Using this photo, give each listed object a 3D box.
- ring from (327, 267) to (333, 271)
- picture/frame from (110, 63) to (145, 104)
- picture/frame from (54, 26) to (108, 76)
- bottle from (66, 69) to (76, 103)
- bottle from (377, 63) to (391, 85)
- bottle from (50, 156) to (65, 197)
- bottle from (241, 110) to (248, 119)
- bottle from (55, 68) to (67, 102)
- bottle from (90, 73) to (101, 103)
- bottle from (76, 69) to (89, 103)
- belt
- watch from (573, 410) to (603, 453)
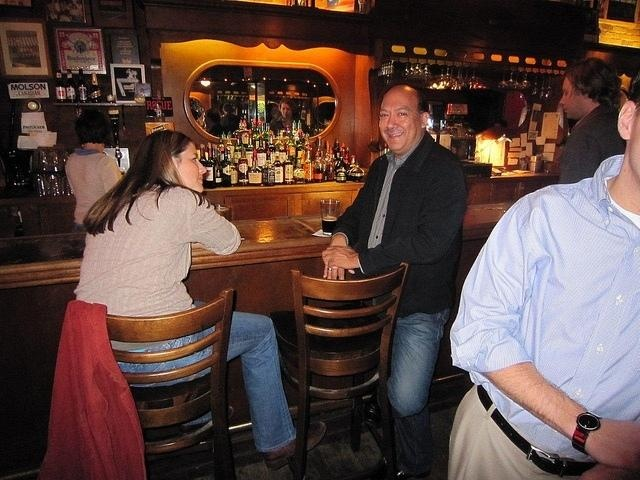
[{"bbox_3d":[0.053,0.139,2.293,0.018,0.013,0.018,1,4,0],"label":"ring"},{"bbox_3d":[-1.707,-1.403,4.067,0.366,0.424,0.017,-3,20,-27],"label":"picture/frame"},{"bbox_3d":[-2.060,-1.649,3.945,0.433,0.456,0.057,0,10,-11],"label":"picture/frame"},{"bbox_3d":[-2.119,-1.321,3.930,0.074,0.248,0.180,-7,17,-20],"label":"bottle"},{"bbox_3d":[0.576,-1.510,4.119,0.088,0.136,0.041,11,41,12],"label":"bottle"},{"bbox_3d":[-2.188,-0.564,3.850,0.106,0.310,0.221,-9,17,-25],"label":"bottle"},{"bbox_3d":[-0.730,-1.223,4.422,0.075,0.093,0.025,-6,16,-15],"label":"bottle"},{"bbox_3d":[-2.213,-1.327,3.935,0.087,0.256,0.225,-10,18,-28],"label":"bottle"},{"bbox_3d":[-1.931,-1.324,3.968,0.090,0.239,0.216,-7,17,-21],"label":"bottle"},{"bbox_3d":[-2.020,-1.327,3.925,0.096,0.271,0.124,-9,17,-27],"label":"bottle"},{"bbox_3d":[0.687,0.590,1.446,0.229,0.070,0.228,-18,60,-41],"label":"belt"},{"bbox_3d":[0.694,0.500,1.203,0.089,0.087,0.059,-26,29,-33],"label":"watch"}]
